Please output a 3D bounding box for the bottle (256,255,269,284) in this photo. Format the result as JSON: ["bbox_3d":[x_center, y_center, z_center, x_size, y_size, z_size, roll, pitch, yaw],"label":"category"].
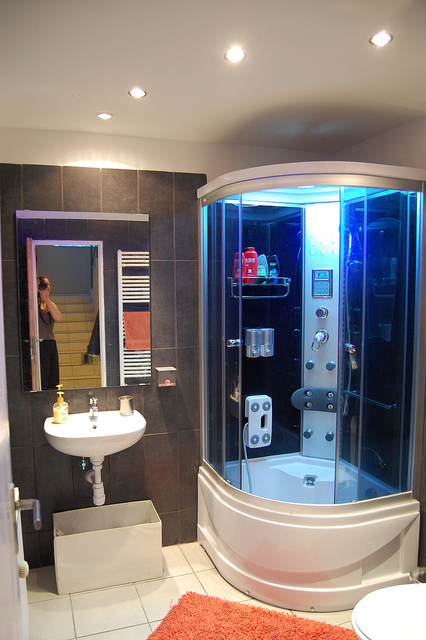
[{"bbox_3d":[0.241,-0.247,2.525,0.065,0.142,0.018,-2,1,-34],"label":"bottle"}]

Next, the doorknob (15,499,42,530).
[{"bbox_3d":[-0.495,0.511,1.364,0.061,0.074,0.096,-2,1,-23],"label":"doorknob"}]

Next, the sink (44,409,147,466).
[{"bbox_3d":[-0.618,0.638,2.694,0.510,0.228,0.431,-2,1,-20],"label":"sink"}]

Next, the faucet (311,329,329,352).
[{"bbox_3d":[0.521,0.098,2.538,0.069,0.105,0.051,33,20,34],"label":"faucet"}]

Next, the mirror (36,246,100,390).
[{"bbox_3d":[-0.800,0.018,2.835,0.449,1.134,0.125,-4,42,-17],"label":"mirror"}]

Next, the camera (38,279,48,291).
[{"bbox_3d":[-0.909,-0.188,2.731,0.043,0.048,0.012,1,1,-31],"label":"camera"}]

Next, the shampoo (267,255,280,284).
[{"bbox_3d":[0.304,-0.243,2.505,0.061,0.135,0.030,-1,7,-3],"label":"shampoo"}]

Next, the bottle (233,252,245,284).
[{"bbox_3d":[0.123,-0.253,2.532,0.019,0.102,0.073,-2,1,-40],"label":"bottle"}]
